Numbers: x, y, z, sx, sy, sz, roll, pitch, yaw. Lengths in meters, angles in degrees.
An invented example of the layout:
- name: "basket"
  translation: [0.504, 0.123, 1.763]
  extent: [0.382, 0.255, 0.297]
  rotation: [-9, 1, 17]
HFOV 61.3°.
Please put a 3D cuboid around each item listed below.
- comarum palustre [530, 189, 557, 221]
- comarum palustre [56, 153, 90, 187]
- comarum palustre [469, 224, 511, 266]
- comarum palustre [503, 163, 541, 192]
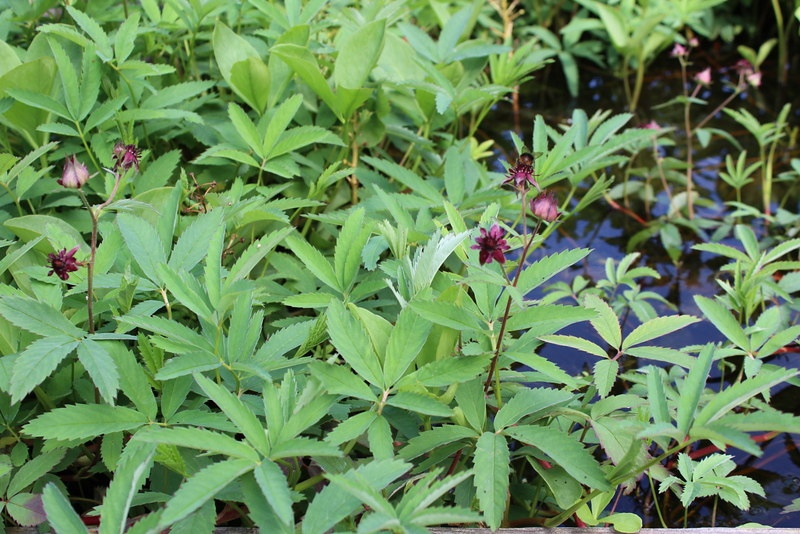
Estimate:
- name: "comarum palustre"
  translation: [0.353, -0.155, 1.697]
  extent: [0.070, 0.080, 0.054]
  rotation: [13, -1, -38]
- name: "comarum palustre"
  translation: [-0.808, -0.235, 1.674]
  extent: [0.073, 0.084, 0.070]
  rotation: [20, 29, 34]
- name: "comarum palustre"
  translation: [0.232, -0.057, 1.692]
  extent: [0.086, 0.098, 0.128]
  rotation: [11, 43, 8]
- name: "comarum palustre"
  translation: [0.309, -0.221, 1.723]
  extent: [0.079, 0.074, 0.083]
  rotation: [-4, 6, -20]
